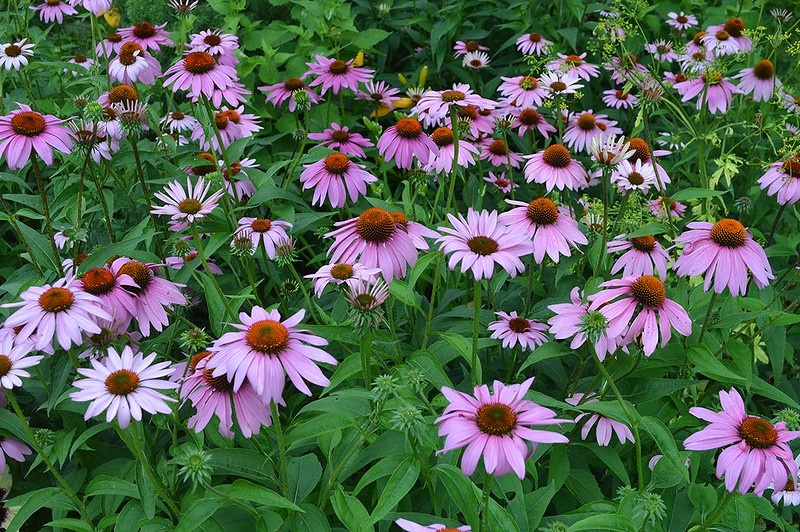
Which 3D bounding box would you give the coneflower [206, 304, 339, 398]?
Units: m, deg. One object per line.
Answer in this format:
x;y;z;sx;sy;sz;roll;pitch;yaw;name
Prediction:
-0.650;0.428;3.626;0.466;0.164;0.526;2;41;-18;coneflower

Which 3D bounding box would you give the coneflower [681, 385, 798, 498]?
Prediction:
1.734;0.890;3.702;0.491;0.206;0.551;22;52;14;coneflower

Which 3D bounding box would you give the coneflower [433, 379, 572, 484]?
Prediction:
0.464;0.769;3.530;0.497;0.167;0.525;25;55;21;coneflower
